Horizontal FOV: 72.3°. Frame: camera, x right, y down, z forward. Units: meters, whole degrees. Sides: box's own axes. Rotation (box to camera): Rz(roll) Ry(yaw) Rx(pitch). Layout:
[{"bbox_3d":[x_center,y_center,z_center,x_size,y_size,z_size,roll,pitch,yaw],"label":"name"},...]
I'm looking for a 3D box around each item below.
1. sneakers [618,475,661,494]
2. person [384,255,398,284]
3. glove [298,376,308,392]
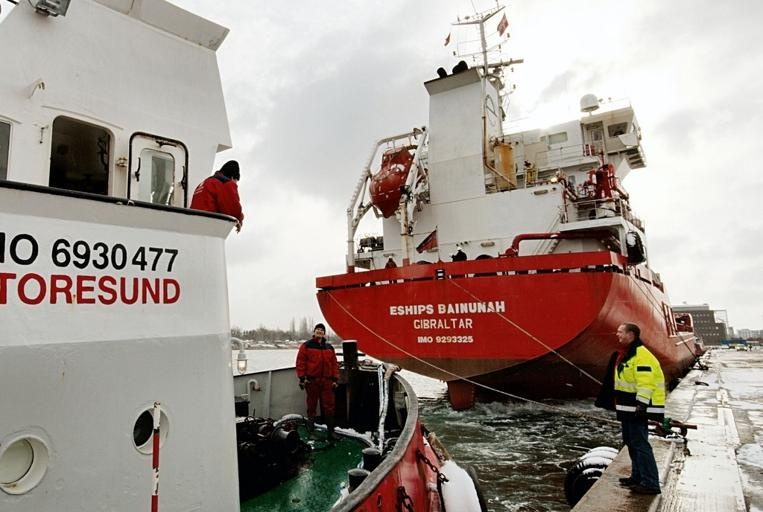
[{"bbox_3d":[2.782,2.486,5.629,0.326,0.157,0.123,2,-3,12],"label":"sneakers"},{"bbox_3d":[0.260,0.341,12.975,0.371,0.500,1.467,-6,-1,-2],"label":"person"},{"bbox_3d":[-1.091,1.799,7.300,0.129,0.195,0.084,-2,-6,-1],"label":"glove"}]
